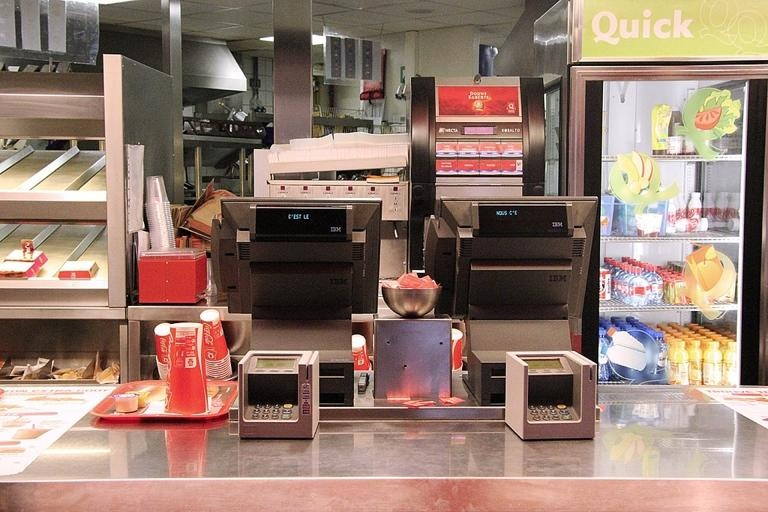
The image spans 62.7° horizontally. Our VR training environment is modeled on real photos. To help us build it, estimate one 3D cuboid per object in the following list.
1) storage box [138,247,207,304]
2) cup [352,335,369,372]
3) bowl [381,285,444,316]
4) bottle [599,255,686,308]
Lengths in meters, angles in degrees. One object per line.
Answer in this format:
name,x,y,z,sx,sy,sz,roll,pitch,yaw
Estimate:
storage box,-1.311,0.114,3.973,0.368,0.249,0.352,0,3,-2
cup,-0.117,0.477,3.100,0.069,0.181,0.136,-1,9,2
bowl,0.115,0.205,2.837,0.310,0.143,0.316,1,-2,0
bottle,1.864,0.191,4.511,0.406,0.177,0.390,0,8,0
